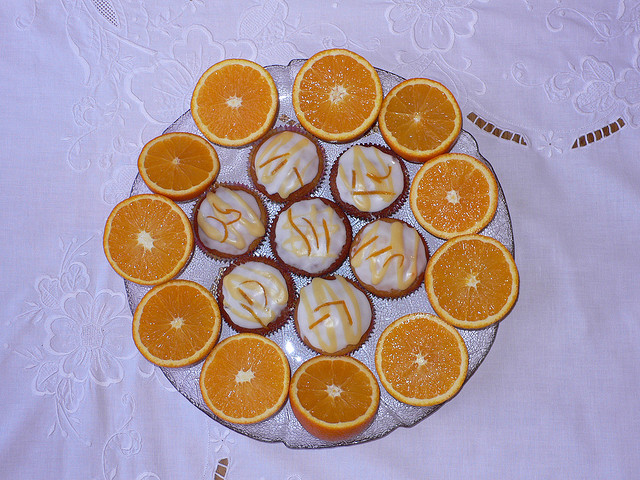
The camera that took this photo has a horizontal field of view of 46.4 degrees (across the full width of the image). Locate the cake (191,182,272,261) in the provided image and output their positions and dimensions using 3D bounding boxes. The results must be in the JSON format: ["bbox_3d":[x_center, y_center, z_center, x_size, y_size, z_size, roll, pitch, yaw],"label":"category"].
[{"bbox_3d":[-0.633,-0.149,5.417,0.545,0.258,0.540,-23,81,-2],"label":"cake"}]

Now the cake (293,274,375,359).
[{"bbox_3d":[0.090,0.540,5.307,0.592,0.243,0.581,-9,81,1],"label":"cake"}]

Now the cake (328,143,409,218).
[{"bbox_3d":[0.353,-0.426,5.442,0.578,0.232,0.523,-3,81,2],"label":"cake"}]
